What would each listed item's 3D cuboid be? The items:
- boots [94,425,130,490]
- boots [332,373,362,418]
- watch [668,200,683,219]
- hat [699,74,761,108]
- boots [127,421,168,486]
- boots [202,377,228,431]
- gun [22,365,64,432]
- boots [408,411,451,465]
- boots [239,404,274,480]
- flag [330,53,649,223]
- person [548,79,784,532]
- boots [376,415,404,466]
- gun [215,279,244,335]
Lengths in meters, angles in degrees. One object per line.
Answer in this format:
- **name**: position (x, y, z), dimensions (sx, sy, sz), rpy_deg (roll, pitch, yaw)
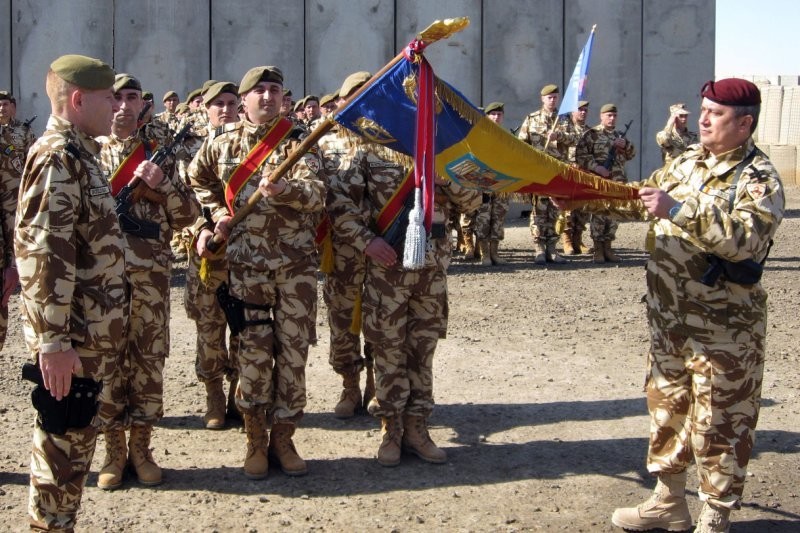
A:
- **boots**: position (-2.260, 1.499, 8.510), dimensions (0.188, 0.397, 0.561), rpy_deg (0, 15, -2)
- **boots**: position (-0.460, 1.122, 9.605), dimensions (0.155, 0.343, 0.382), rpy_deg (0, 17, 26)
- **watch**: position (1.933, -0.398, 7.639), dimensions (0.024, 0.102, 0.105), rpy_deg (16, 23, 29)
- **hat**: position (2.358, -1.238, 7.727), dimensions (0.395, 0.209, 0.315), rpy_deg (-3, 8, -30)
- **boots**: position (-2.005, 1.484, 8.527), dimensions (0.282, 0.455, 0.227), rpy_deg (0, 7, -12)
- **boots**: position (-1.625, 1.187, 9.453), dimensions (0.167, 0.348, 0.508), rpy_deg (-1, 15, -9)
- **gun**: position (-2.423, 0.910, 7.375), dimensions (0.314, 0.478, 0.113), rpy_deg (4, 7, 24)
- **boots**: position (0.197, 1.399, 8.889), dimensions (0.187, 0.366, 0.490), rpy_deg (-8, 15, -40)
- **boots**: position (-1.150, 1.390, 8.630), dimensions (0.211, 0.416, 0.599), rpy_deg (-3, 16, -5)
- **flag**: position (1.119, -1.030, 9.155), dimensions (0.573, 1.199, 4.682), rpy_deg (24, 18, 36)
- **person**: position (2.197, 0.316, 7.853), dimensions (0.994, 3.329, 0.577), rpy_deg (3, 7, 17)
- **boots**: position (-0.080, 1.412, 8.867), dimensions (0.191, 0.332, 0.581), rpy_deg (3, 6, 4)
- **gun**: position (-1.336, 0.330, 8.562), dimensions (0.280, 0.346, 0.131), rpy_deg (-26, -5, 43)
